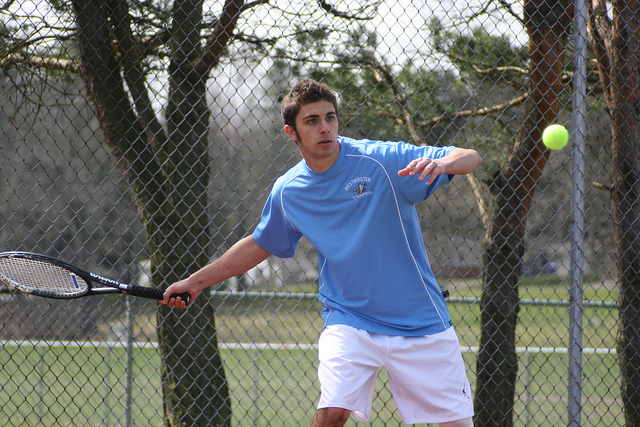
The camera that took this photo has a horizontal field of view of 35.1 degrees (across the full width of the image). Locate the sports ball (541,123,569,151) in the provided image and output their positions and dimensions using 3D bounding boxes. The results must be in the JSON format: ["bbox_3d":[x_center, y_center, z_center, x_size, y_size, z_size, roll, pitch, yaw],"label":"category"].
[{"bbox_3d":[2.402,-0.780,10.273,0.250,0.274,0.306,-5,-4,16],"label":"sports ball"}]
